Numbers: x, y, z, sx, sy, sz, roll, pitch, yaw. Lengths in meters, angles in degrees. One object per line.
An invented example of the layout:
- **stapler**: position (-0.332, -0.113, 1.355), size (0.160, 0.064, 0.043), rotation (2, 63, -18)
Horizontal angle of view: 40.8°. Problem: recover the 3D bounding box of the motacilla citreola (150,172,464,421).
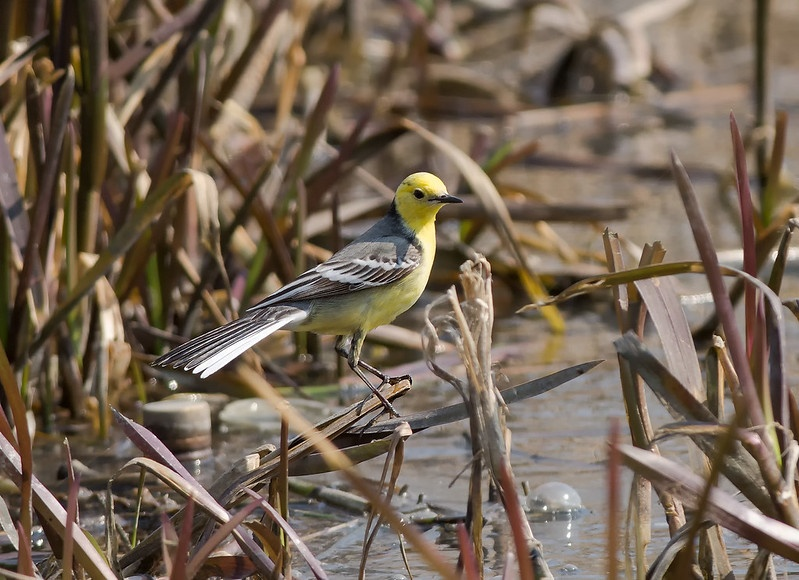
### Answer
- **motacilla citreola**: position (-0.531, -0.075, 5.524), size (0.915, 1.248, 1.249), rotation (13, 11, 43)
